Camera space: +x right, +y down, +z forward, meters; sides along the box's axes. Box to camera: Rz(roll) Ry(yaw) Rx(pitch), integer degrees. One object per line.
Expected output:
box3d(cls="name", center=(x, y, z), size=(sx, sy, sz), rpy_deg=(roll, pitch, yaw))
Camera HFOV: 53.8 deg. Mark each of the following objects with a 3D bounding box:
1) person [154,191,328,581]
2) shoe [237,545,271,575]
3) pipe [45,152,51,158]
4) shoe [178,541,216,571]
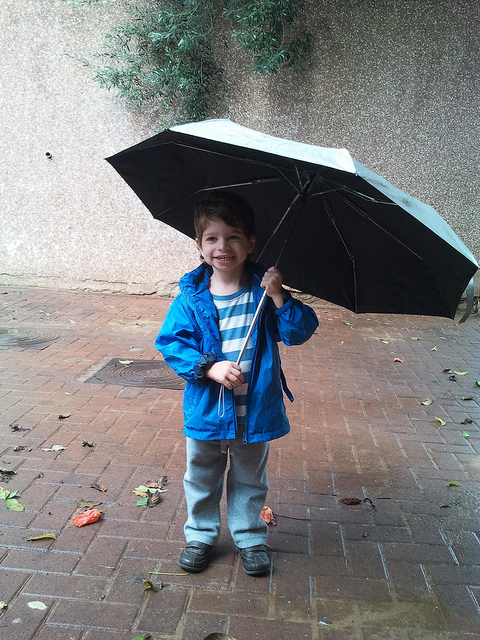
box3d(cls="person", center=(-0.041, 0.287, 1.810), size=(0.449, 1.488, 0.429), rpy_deg=(14, 15, 37))
box3d(cls="shoe", center=(0.067, 0.961, 1.885), size=(0.067, 0.054, 0.145), rpy_deg=(1, -11, -13))
box3d(cls="pipe", center=(-2.721, -2.339, 6.681), size=(0.053, 0.054, 0.054), rpy_deg=(3, 13, 2))
box3d(cls="shoe", center=(-0.178, 0.943, 1.880), size=(0.167, 0.067, 0.062), rpy_deg=(1, 23, -24))
